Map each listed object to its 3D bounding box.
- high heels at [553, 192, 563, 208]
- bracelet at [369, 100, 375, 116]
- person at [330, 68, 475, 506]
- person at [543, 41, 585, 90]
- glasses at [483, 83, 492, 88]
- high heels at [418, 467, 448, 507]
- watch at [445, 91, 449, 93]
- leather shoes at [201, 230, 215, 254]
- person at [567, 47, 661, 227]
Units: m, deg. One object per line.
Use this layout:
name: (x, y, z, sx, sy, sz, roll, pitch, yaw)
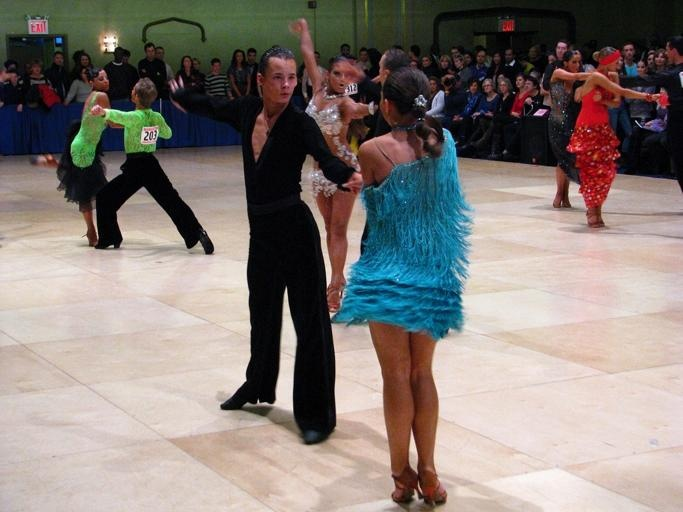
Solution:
high heels: (3.462, -0.882, 9.977, 0.125, 0.289, 0.095, 2, 14, 4)
bracelet: (0.253, -1.200, 5.078, 0.078, 0.100, 0.055, 0, 13, 0)
person: (0.255, 0.151, 2.666, 0.576, 1.846, 0.468, 1, 14, 11)
person: (4.088, -3.495, 11.858, 0.423, 1.115, 0.401, 8, 16, 43)
glasses: (3.569, -4.134, 15.240, 0.133, 0.055, 0.161, 1, -1, 11)
high heels: (0.392, 0.986, 2.660, 0.109, 0.072, 0.188, -4, -9, -5)
watch: (2.770, -4.270, 16.318, 0.070, 0.015, 0.067, 1, -6, -4)
leather shoes: (-1.650, -0.158, 7.773, 0.075, 0.291, 0.165, -27, -5, 30)
person: (3.687, -1.668, 8.767, 0.957, 2.423, 1.037, 4, 14, 23)
